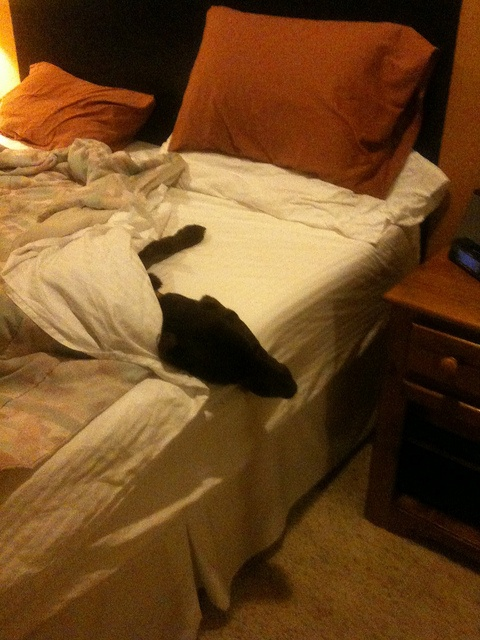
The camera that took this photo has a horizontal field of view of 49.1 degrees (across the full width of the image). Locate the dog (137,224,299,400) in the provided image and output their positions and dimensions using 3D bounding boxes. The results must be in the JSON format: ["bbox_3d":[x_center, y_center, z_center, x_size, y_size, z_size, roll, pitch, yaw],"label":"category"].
[{"bbox_3d":[-0.062,0.001,1.014,0.223,0.213,0.438,-7,35,-13],"label":"dog"}]

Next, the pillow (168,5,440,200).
[{"bbox_3d":[0.138,-0.598,1.372,0.581,0.520,0.182,15,15,27],"label":"pillow"}]
